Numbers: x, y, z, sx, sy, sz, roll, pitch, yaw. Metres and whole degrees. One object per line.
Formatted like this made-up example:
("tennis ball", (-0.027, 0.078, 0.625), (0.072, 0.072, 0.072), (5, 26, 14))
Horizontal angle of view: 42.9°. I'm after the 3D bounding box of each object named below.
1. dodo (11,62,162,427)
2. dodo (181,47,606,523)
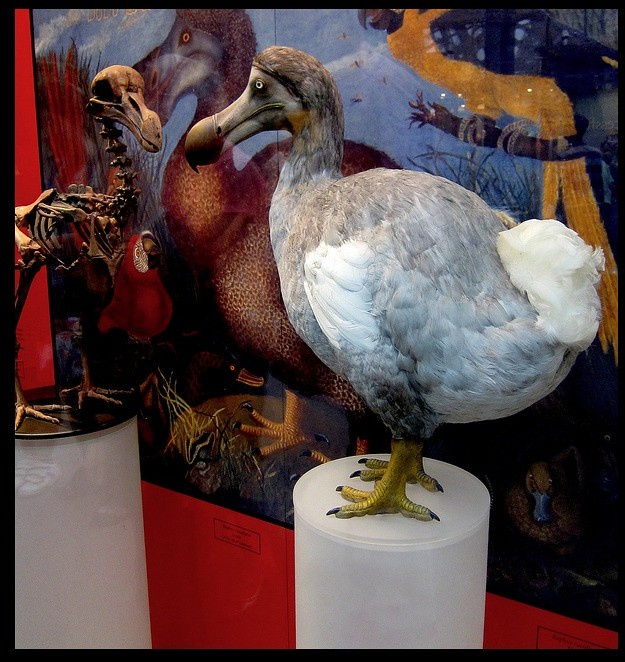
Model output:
("dodo", (-0.424, -0.171, 1.492), (0.284, 0.666, 0.223), (3, 6, 7))
("dodo", (0.114, -0.079, 1.268), (0.576, 0.736, 0.368), (4, 16, 13))
